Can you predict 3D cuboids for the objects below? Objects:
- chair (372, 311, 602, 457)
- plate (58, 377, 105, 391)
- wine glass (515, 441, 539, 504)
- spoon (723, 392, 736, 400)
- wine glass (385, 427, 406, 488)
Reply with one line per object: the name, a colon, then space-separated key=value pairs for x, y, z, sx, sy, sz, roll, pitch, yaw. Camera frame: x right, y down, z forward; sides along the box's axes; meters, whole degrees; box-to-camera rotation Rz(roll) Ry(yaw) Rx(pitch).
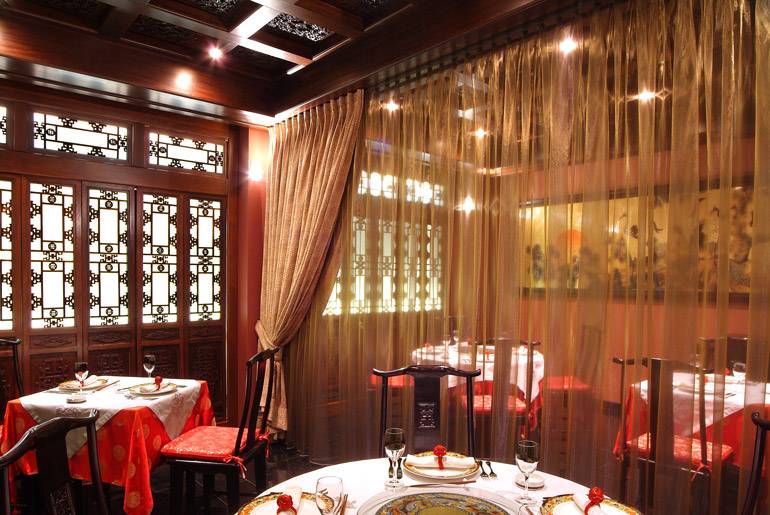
chair: x=0.996 y=0.983 z=4.567 sx=1.232 sy=0.933 sz=1.296 roll=0 pitch=-4 yaw=1
plate: x=-2.426 y=1.013 z=4.799 sx=0.176 sy=0.060 sz=0.176 roll=2 pitch=-3 yaw=-16
wine glass: x=0.807 y=1.187 z=3.381 sx=0.101 sy=0.333 sz=0.198 roll=1 pitch=-3 yaw=17
spoon: x=2.259 y=0.897 z=3.918 sx=0.052 sy=0.020 sz=0.040 roll=4 pitch=1 yaw=43
wine glass: x=0.059 y=1.148 z=3.470 sx=0.122 sy=0.328 sz=0.120 roll=2 pitch=5 yaw=28
